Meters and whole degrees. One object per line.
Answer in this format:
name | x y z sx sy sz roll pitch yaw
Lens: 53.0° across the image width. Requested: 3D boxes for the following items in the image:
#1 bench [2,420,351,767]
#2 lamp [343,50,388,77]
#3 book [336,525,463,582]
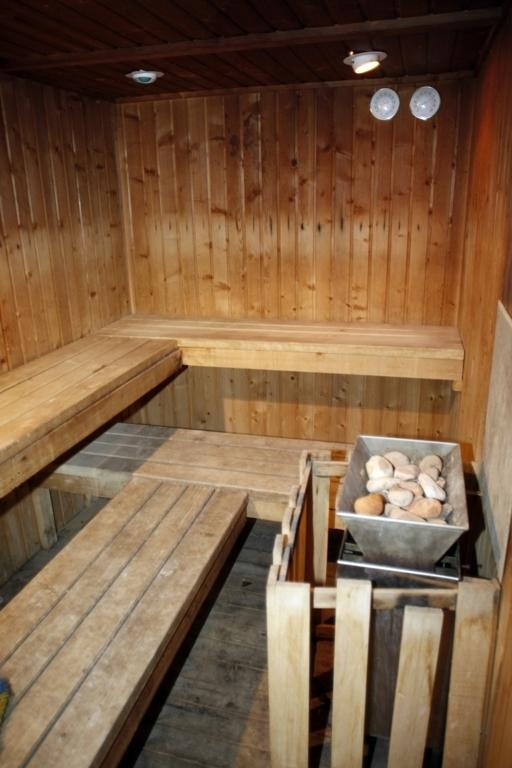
bench | -0.266 0.743 1.863 0.642 0.227 1.048 7 31 11
lamp | 0.489 -1.442 2.282 0.209 0.084 0.115 7 18 36
book | 0.406 0.489 1.463 0.329 0.071 0.241 1 16 20
